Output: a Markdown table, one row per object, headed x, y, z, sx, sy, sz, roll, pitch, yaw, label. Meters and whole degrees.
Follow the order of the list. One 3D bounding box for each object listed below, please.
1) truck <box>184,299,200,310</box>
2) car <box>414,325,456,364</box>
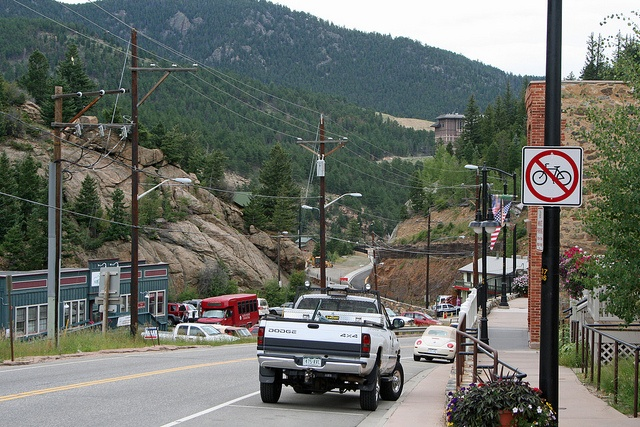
| x | y | z | sx | sy | sz | roll | pitch | yaw | label |
| --- | --- | --- | --- | --- | --- | --- | --- | --- | --- |
| -13.324 | 9.627 | 120.692 | 1.436 | 0.920 | 1.026 | 3 | -2 | 7 | truck |
| 10.231 | 10.972 | 96.506 | 2.319 | 2.131 | 4.246 | 1 | 0 | 16 | car |
